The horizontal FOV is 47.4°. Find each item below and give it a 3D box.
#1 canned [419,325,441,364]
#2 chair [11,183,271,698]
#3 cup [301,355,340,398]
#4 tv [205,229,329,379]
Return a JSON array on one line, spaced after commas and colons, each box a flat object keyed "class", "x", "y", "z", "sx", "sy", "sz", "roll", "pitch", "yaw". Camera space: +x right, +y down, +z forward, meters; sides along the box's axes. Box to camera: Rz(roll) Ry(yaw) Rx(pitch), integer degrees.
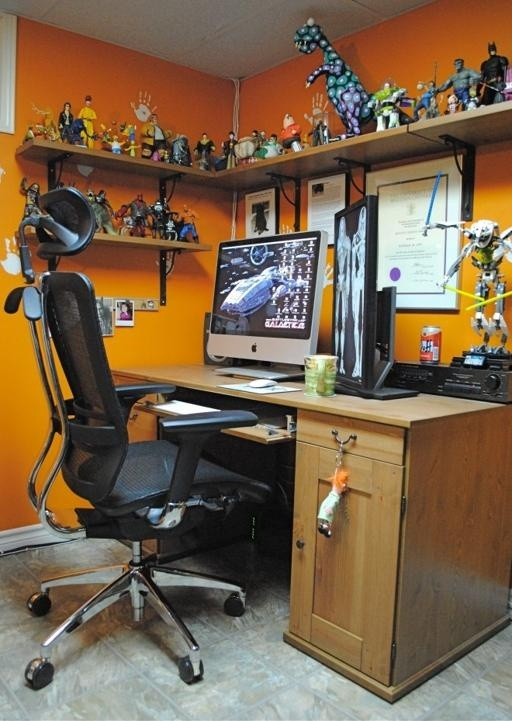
[{"class": "canned", "x": 0.544, "y": -0.048, "z": 1.811, "sx": 0.058, "sy": 0.113, "sz": 0.204, "roll": 2, "pitch": 3, "yaw": 16}, {"class": "chair", "x": -0.334, "y": 0.186, "z": 1.571, "sx": 0.595, "sy": 1.219, "sz": 0.680, "roll": -1, "pitch": 4, "yaw": -33}, {"class": "cup", "x": 0.182, "y": 0.045, "z": 1.678, "sx": 0.108, "sy": 0.110, "sz": 0.106, "roll": 1, "pitch": 5, "yaw": 0}, {"class": "tv", "x": 0.052, "y": -0.197, "z": 2.186, "sx": 0.274, "sy": 0.555, "sz": 0.645, "roll": -2, "pitch": 3, "yaw": -43}]
